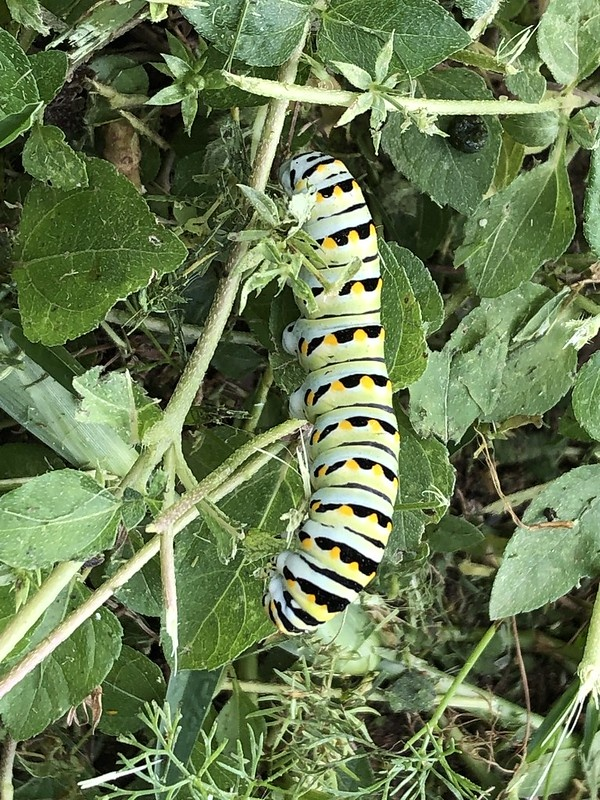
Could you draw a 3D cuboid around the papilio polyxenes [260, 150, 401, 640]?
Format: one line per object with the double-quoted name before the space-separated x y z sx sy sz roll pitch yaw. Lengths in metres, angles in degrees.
"papilio polyxenes" 0.042 0.002 1.059 0.210 0.179 0.617 4 86 38
